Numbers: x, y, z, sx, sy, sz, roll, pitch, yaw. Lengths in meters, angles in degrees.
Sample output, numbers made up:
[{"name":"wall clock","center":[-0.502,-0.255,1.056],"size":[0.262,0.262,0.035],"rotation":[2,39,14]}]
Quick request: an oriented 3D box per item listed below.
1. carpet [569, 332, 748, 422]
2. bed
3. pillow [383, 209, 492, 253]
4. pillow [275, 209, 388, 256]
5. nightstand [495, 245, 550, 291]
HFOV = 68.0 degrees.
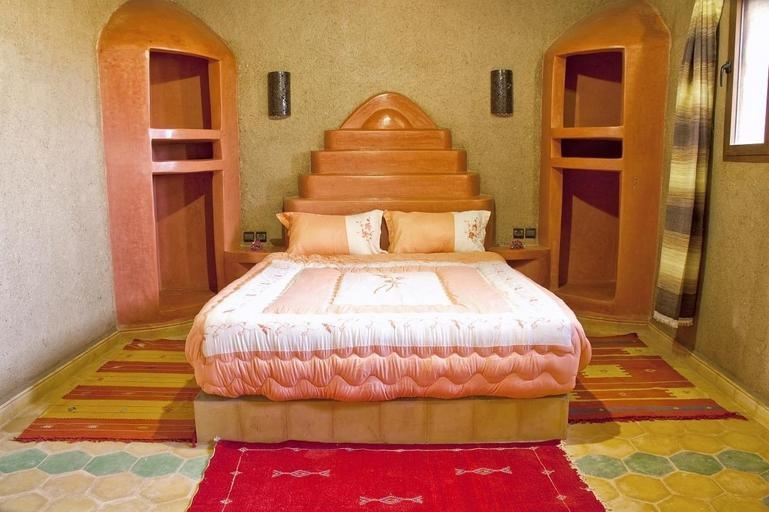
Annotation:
[{"name":"carpet","center":[1.618,0.937,4.605],"size":[1.519,0.037,2.046],"rotation":[-4,6,9]},{"name":"bed","center":[0.001,-0.134,4.301],"size":[2.589,1.309,2.846],"rotation":[-1,32,-10]},{"name":"pillow","center":[0.469,-0.216,5.104],"size":[0.928,0.374,0.240],"rotation":[1,1,16]},{"name":"pillow","center":[-0.446,-0.198,5.113],"size":[0.969,0.385,0.290],"rotation":[0,-2,-9]},{"name":"nightstand","center":[1.327,0.086,5.517],"size":[0.448,0.419,0.502],"rotation":[0,5,4]}]
